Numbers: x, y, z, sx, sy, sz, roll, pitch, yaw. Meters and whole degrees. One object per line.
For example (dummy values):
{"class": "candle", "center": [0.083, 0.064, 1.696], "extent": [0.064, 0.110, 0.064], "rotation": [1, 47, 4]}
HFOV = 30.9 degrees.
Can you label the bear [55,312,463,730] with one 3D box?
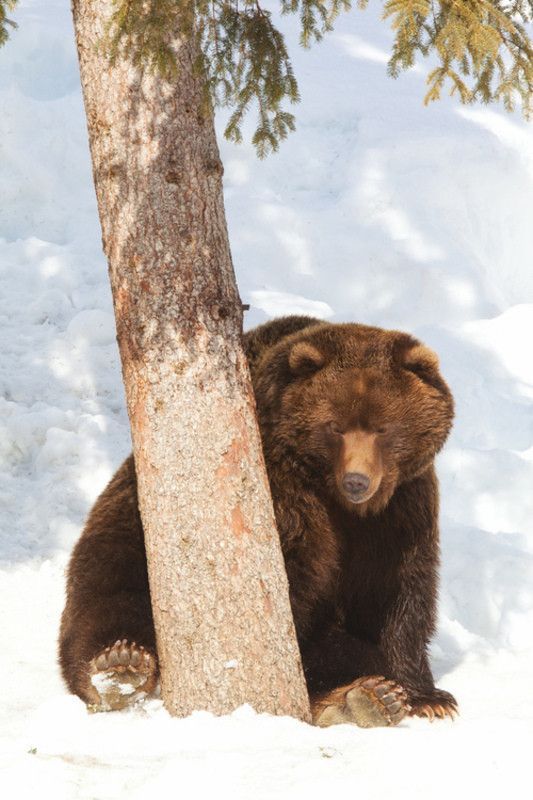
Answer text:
{"class": "bear", "center": [0.013, 0.818, 5.949], "extent": [2.086, 2.771, 2.090], "rotation": [12, 73, -33]}
